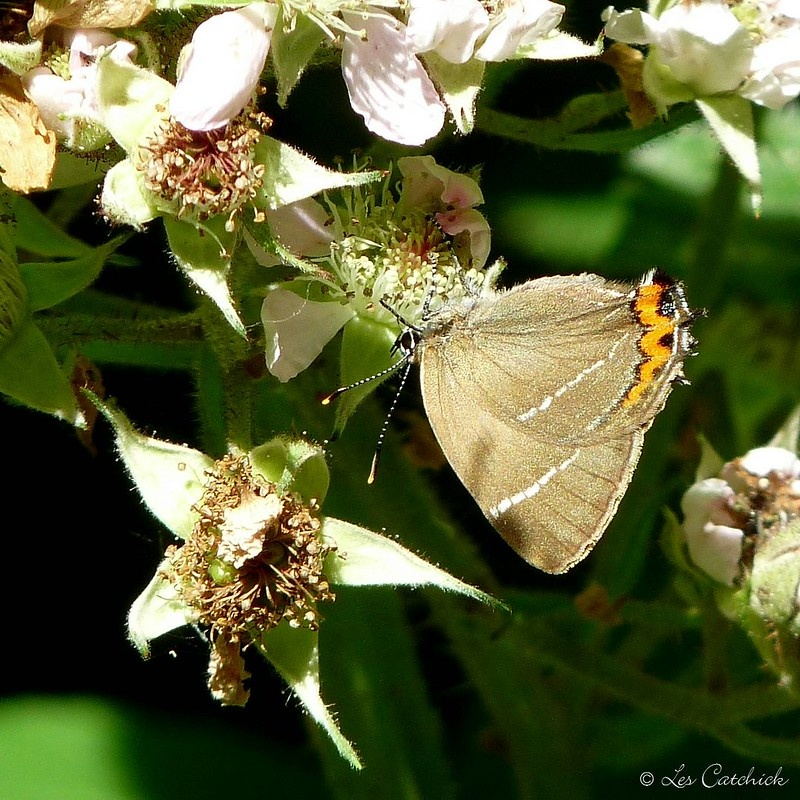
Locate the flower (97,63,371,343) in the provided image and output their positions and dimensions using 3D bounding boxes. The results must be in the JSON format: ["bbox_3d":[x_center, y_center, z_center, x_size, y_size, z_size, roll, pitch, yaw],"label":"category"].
[{"bbox_3d":[-0.178,-0.225,1.195,0.238,0.237,0.182,22,48,37],"label":"flower"}]

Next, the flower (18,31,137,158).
[{"bbox_3d":[-0.342,-0.318,1.230,0.092,0.136,0.091,1,18,10],"label":"flower"}]

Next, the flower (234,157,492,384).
[{"bbox_3d":[-0.054,-0.167,1.432,0.279,0.259,0.110,-27,9,-21],"label":"flower"}]

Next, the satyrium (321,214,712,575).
[{"bbox_3d":[0.139,0.009,1.410,0.360,0.293,0.271,16,44,32],"label":"satyrium"}]
